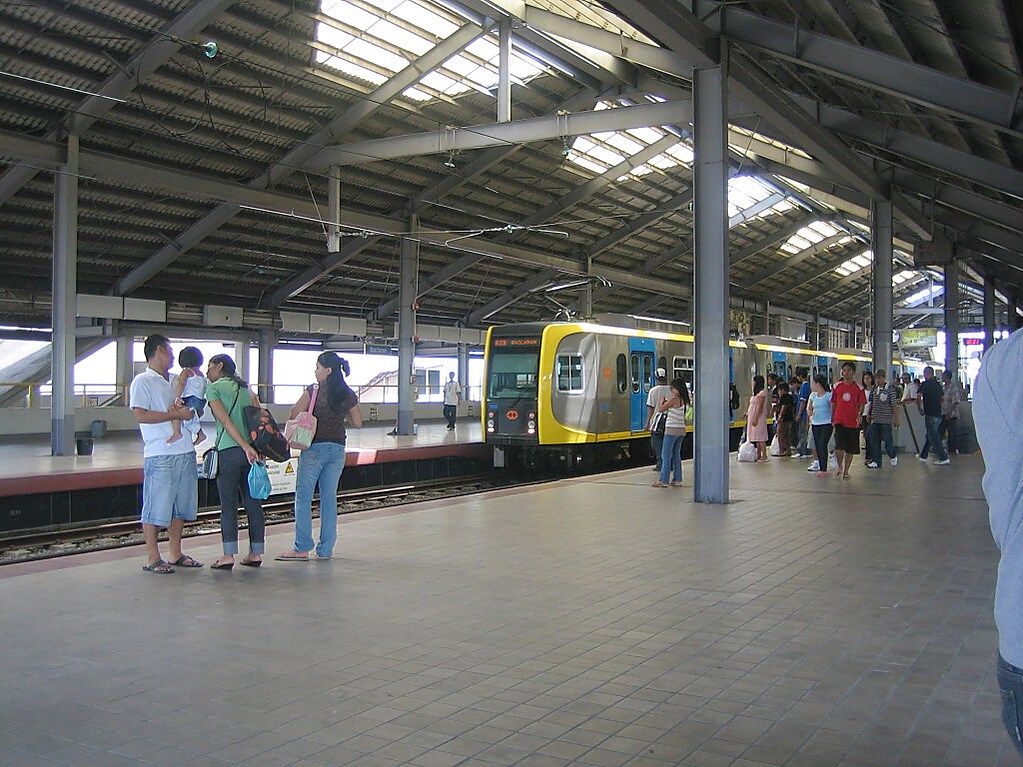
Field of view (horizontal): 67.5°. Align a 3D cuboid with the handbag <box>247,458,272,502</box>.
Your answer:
[{"bbox_3d":[-2.372,0.922,7.132,0.189,0.399,0.233,-1,0,-20],"label":"handbag"}]

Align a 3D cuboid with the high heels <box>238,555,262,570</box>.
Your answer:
[{"bbox_3d":[-2.476,1.688,7.250,0.218,0.148,0.086,7,1,26],"label":"high heels"}]

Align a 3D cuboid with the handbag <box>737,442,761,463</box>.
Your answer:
[{"bbox_3d":[5.220,1.537,16.895,0.517,0.699,0.388,-2,-4,20],"label":"handbag"}]

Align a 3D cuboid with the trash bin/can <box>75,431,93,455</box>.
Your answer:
[{"bbox_3d":[-10.437,1.454,18.565,0.417,0.473,0.415,0,-4,-7],"label":"trash bin/can"}]

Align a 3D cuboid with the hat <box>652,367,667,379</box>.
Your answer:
[{"bbox_3d":[3.054,-0.216,16.001,0.338,0.285,0.566,-1,-7,4],"label":"hat"}]

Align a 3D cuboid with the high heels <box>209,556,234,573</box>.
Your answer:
[{"bbox_3d":[-2.733,1.688,7.144,0.247,0.088,0.099,2,-2,43],"label":"high heels"}]

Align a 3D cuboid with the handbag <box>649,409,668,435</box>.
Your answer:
[{"bbox_3d":[2.425,0.624,12.832,0.293,0.559,0.418,1,5,4],"label":"handbag"}]

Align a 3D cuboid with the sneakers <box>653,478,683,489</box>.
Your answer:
[{"bbox_3d":[2.606,1.692,12.789,0.519,0.216,0.177,2,-4,2],"label":"sneakers"}]

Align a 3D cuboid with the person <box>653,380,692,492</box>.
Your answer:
[{"bbox_3d":[2.685,0.831,12.755,0.479,1.601,1.451,-1,0,11],"label":"person"}]

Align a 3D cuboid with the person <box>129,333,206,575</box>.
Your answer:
[{"bbox_3d":[-3.235,0.636,7.149,0.574,2.327,0.517,-1,0,-27],"label":"person"}]

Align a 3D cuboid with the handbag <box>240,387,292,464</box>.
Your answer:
[{"bbox_3d":[-2.319,0.444,7.182,0.382,0.621,0.322,-1,0,0],"label":"handbag"}]

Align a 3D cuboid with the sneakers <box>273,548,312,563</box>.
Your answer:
[{"bbox_3d":[-2.192,1.689,7.530,0.378,0.150,0.128,3,-5,5],"label":"sneakers"}]

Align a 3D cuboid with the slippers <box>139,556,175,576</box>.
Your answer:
[{"bbox_3d":[-3.246,1.658,7.016,0.268,0.159,0.304,-1,0,-26],"label":"slippers"}]

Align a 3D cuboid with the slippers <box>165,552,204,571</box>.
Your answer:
[{"bbox_3d":[-3.097,1.680,7.237,0.326,0.106,0.122,0,-1,15],"label":"slippers"}]
